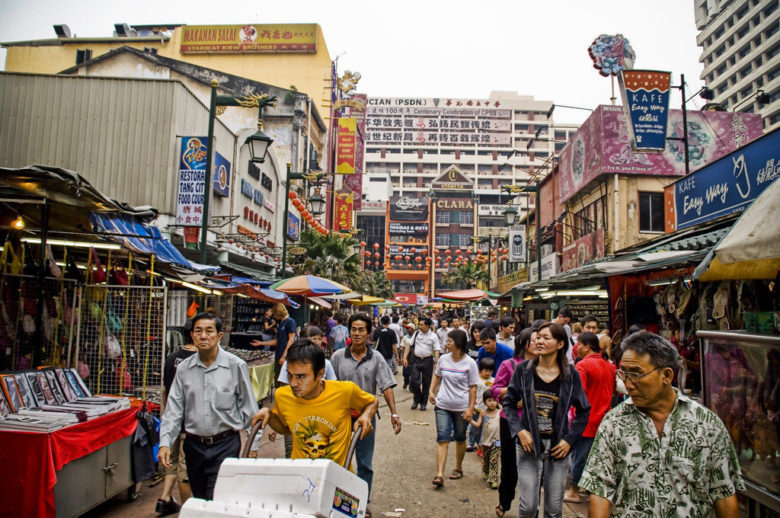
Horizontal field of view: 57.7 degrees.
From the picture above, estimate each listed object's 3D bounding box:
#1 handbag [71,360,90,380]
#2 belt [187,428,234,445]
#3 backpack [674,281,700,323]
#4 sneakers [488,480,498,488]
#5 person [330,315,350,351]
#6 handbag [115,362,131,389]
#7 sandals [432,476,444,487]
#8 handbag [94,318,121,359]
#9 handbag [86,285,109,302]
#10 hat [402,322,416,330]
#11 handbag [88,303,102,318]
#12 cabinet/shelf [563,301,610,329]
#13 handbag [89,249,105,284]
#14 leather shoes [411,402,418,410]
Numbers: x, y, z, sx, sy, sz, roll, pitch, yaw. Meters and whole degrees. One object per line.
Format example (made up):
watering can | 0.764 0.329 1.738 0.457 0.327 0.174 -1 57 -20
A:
handbag | -5.007 1.783 11.498 0.204 0.277 0.104 -36 10 -37
belt | -2.254 2.208 8.843 0.567 0.163 0.124 1 1 -10
backpack | 5.646 0.801 13.581 0.220 0.740 0.552 1 1 -5
sneakers | 1.627 3.548 11.224 0.098 0.044 0.130 -4 2 1
person | -1.423 2.177 19.714 0.547 1.314 0.376 7 28 -4
handbag | -4.322 1.880 11.477 0.249 0.454 0.190 1 1 -7
sandals | 0.752 3.495 11.244 0.170 0.171 0.295 2 1 4
handbag | -4.550 1.261 11.521 0.357 0.688 0.304 1 1 -19
handbag | -4.808 0.531 11.736 0.276 0.285 0.284 2 5 16
hat | 0.592 2.136 22.378 0.339 0.259 0.489 1 -7 7
handbag | -4.841 0.830 11.623 0.205 0.207 0.060 -10 -10 -8
cabinet/shelf | 5.189 1.430 18.597 0.911 0.861 0.299 0 -9 8
handbag | -5.076 0.109 12.300 0.267 0.580 1.108 1 1 -23
leather shoes | 0.600 3.607 17.617 0.171 0.154 0.347 2 1 3
